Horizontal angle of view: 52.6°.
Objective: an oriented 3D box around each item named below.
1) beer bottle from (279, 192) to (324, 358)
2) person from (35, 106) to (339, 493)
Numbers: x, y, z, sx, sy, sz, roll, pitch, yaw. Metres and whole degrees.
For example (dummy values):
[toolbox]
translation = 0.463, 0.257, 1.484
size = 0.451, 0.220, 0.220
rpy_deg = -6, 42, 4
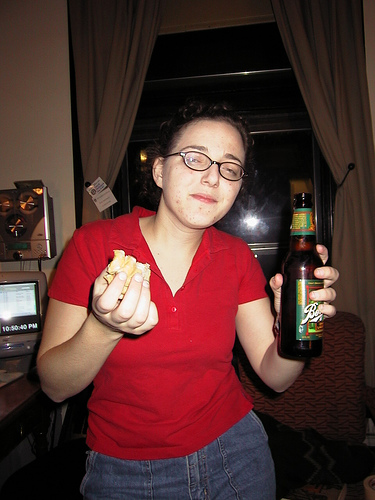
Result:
[beer bottle]
translation = 0.281, 0.061, 0.924
size = 0.102, 0.393, 0.105
rpy_deg = 0, 2, 0
[person]
translation = -0.049, 0.096, 1.053
size = 0.657, 1.073, 0.476
rpy_deg = 8, -5, -41
